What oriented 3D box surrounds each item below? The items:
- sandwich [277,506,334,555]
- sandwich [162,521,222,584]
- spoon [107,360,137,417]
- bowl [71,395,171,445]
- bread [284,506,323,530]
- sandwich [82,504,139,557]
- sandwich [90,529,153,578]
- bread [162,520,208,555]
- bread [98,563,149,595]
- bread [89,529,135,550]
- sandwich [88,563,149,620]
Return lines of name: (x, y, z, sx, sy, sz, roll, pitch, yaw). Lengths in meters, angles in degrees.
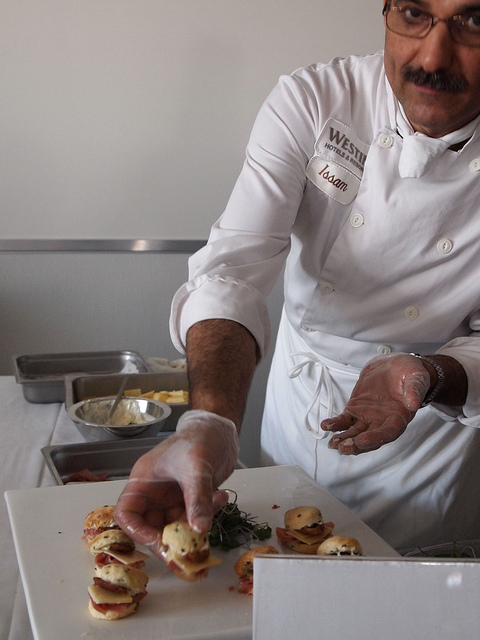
sandwich: (0.103, 0.322, 0.937, 0.086, 0.053, 0.074, -1, -16, -14)
sandwich: (-0.066, 0.279, 0.771, 0.073, 0.034, 0.086, -12, 32, -31)
spoon: (-0.348, 0.207, 1.799, 0.029, 0.126, 0.018, 30, 1, -6)
bowl: (-0.297, 0.248, 1.573, 0.159, 0.048, 0.145, 3, 10, 0)
bread: (0.096, 0.297, 0.922, 0.045, 0.041, 0.020, 10, 54, -32)
sandwich: (-0.181, 0.294, 0.848, 0.077, 0.040, 0.087, 1, 5, 4)
sandwich: (-0.170, 0.308, 0.823, 0.024, 0.056, 0.065, 21, -11, -34)
bread: (-0.071, 0.265, 0.741, 0.052, 0.030, 0.039, 17, 33, 19)
bread: (-0.143, 0.317, 0.745, 0.049, 0.012, 0.037, 15, 2, -40)
bread: (-0.175, 0.295, 0.818, 0.051, 0.015, 0.046, 1, 2, -26)
sandwich: (-0.157, 0.328, 0.747, 0.067, 0.048, 0.090, 8, -8, 23)
